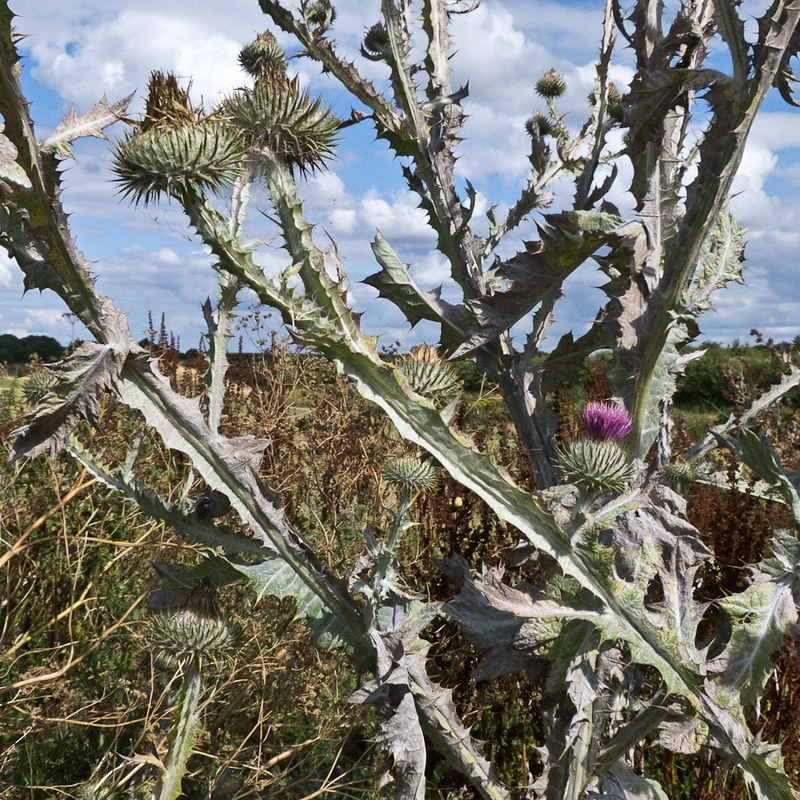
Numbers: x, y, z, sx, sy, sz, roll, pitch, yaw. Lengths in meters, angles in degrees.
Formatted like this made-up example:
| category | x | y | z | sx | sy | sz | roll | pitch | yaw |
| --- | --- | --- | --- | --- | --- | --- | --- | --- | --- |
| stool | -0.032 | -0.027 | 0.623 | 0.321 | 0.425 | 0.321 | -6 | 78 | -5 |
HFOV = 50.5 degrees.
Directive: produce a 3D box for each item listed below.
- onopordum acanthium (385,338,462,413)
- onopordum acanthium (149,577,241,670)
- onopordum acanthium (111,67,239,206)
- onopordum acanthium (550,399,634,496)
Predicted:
| category | x | y | z | sx | sy | sz | roll | pitch | yaw |
| --- | --- | --- | --- | --- | --- | --- | --- | --- | --- |
| onopordum acanthium | 0.140 | -0.109 | 3.729 | 0.261 | 0.234 | 0.366 | -2 | 30 | 2 |
| onopordum acanthium | -0.750 | 0.873 | 3.187 | 0.343 | 0.347 | 0.355 | 6 | 2 | -1 |
| onopordum acanthium | -0.847 | -0.981 | 3.271 | 0.516 | 0.507 | 0.433 | -6 | 21 | -16 |
| onopordum acanthium | 0.593 | 0.163 | 3.008 | 0.366 | 0.344 | 0.324 | 1 | -7 | 7 |
